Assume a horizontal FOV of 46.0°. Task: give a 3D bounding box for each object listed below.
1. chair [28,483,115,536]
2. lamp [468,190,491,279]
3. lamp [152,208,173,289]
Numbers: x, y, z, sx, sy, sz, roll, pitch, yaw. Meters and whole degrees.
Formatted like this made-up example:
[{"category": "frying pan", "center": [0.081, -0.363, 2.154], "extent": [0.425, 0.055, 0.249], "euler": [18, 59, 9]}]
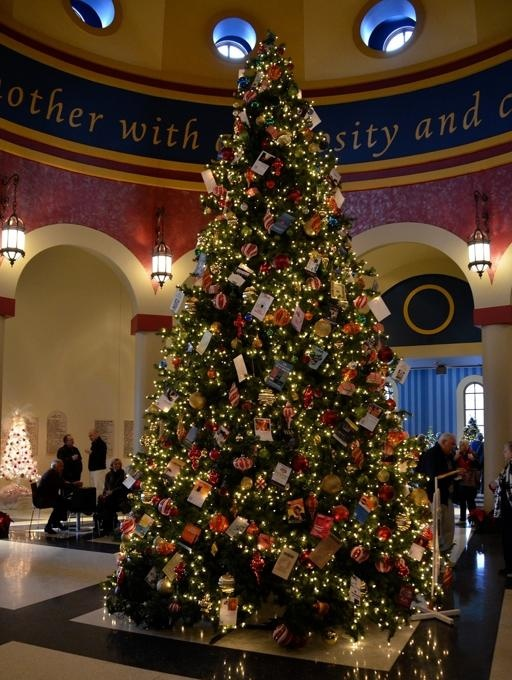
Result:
[{"category": "chair", "center": [-2.236, 2.179, 7.758], "extent": [1.024, 0.589, 0.737], "euler": [1, -11, -5]}, {"category": "lamp", "center": [2.861, -1.381, 7.743], "extent": [0.304, 1.150, 0.458], "euler": [-4, -12, 21]}, {"category": "lamp", "center": [-1.294, -1.285, 8.430], "extent": [0.303, 1.124, 0.447], "euler": [3, -12, -10]}]
